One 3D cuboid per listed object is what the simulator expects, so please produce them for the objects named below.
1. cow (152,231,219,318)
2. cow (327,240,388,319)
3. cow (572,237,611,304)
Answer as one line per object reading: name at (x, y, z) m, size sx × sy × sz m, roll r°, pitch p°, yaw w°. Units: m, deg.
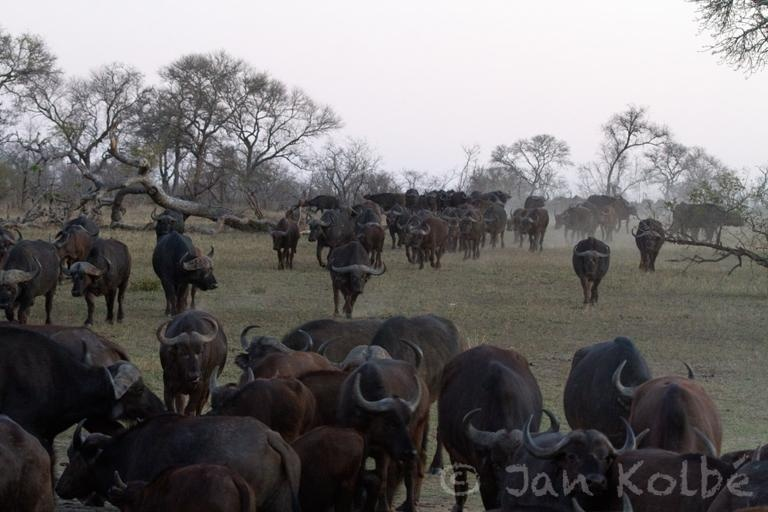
cow at (-4.857, 0.441, 19.211) m, size 1.082 × 2.030 × 1.359 m, roll 2°, pitch 2°, yaw -37°
cow at (-0.873, 0.579, 20.672) m, size 1.198 × 1.922 × 2.000 m, roll 3°, pitch 1°, yaw -5°
cow at (6.010, 0.414, 22.907) m, size 0.994 × 1.529 × 2.079 m, roll 3°, pitch 1°, yaw 15°
